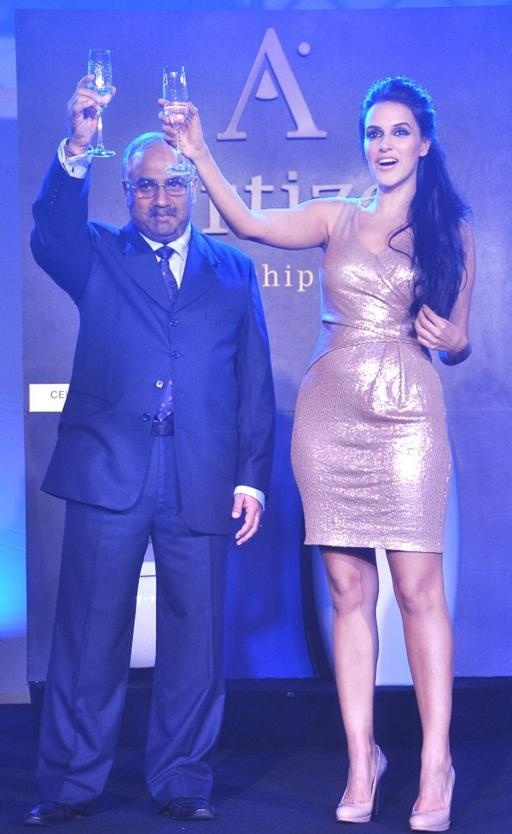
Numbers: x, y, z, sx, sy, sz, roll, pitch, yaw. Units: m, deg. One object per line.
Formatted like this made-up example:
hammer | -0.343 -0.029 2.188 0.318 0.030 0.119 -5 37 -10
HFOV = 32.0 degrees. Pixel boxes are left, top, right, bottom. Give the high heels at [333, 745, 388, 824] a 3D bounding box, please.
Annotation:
high heels | 0.226 0.770 1.892 0.063 0.079 0.186 0 36 31

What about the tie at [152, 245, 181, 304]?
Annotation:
tie | -0.195 -0.317 2.009 0.045 0.133 0.016 2 -26 -23

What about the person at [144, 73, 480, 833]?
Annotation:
person | 0.151 0.021 1.895 0.640 1.501 0.398 5 6 15
